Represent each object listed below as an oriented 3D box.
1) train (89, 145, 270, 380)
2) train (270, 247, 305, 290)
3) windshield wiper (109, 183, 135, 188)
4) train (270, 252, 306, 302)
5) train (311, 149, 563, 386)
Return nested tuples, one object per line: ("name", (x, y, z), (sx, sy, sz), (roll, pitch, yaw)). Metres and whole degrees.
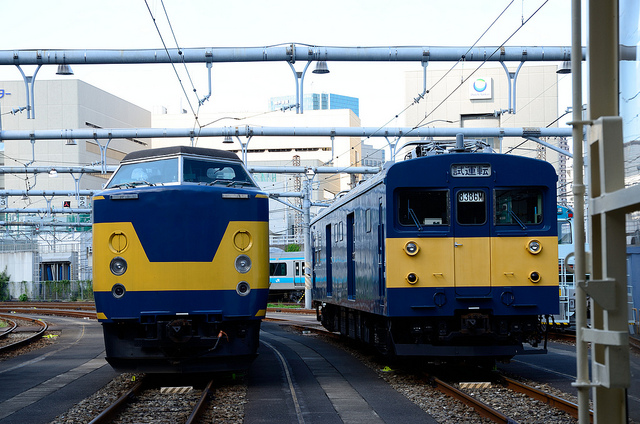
("train", (-2.495, 0.969, 12.851), (2.016, 2.997, 6.332), (0, -4, -4))
("train", (-2.199, 3.904, 46.826), (2.877, 2.608, 0.899), (-10, -11, 40))
("windshield wiper", (-3.740, -0.492, 13.235), (0.435, 0.082, 0.078), (-6, 1, 26))
("train", (-2.210, 4.253, 47.196), (1.949, 3.490, 3.942), (4, -11, -37))
("train", (2.253, 1.341, 15.908), (3.212, 4.803, 6.033), (1, -9, -19))
